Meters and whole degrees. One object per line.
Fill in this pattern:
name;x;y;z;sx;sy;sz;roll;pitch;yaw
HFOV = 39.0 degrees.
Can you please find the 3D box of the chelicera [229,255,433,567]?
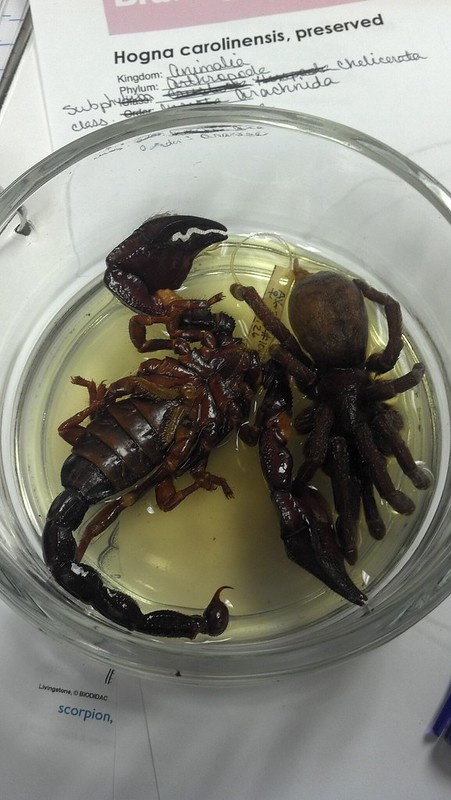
chelicera;0.171;-0.007;0.937;0.235;0.139;0.463;-13;98;9
